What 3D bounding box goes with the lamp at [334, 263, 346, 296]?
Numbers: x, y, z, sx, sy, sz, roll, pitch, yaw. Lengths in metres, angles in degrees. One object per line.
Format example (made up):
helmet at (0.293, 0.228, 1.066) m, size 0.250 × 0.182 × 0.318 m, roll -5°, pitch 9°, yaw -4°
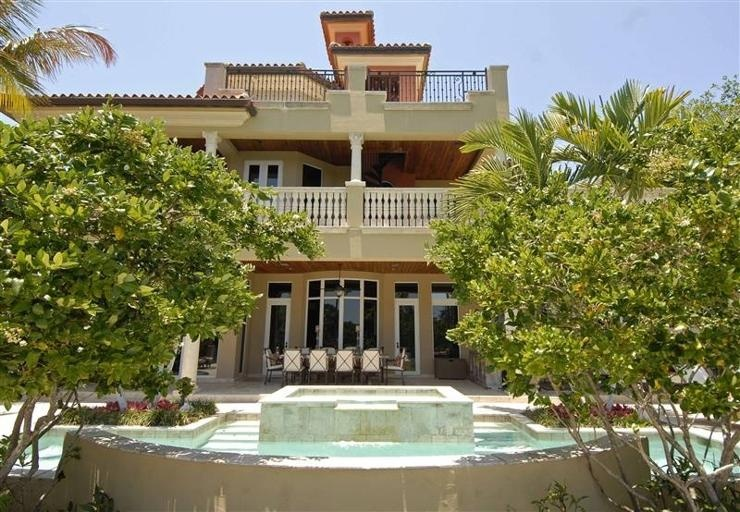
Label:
lamp at (-0.970, 0.868, 17.752) m, size 0.354 × 0.865 × 1.082 m, roll 2°, pitch -20°, yaw -3°
